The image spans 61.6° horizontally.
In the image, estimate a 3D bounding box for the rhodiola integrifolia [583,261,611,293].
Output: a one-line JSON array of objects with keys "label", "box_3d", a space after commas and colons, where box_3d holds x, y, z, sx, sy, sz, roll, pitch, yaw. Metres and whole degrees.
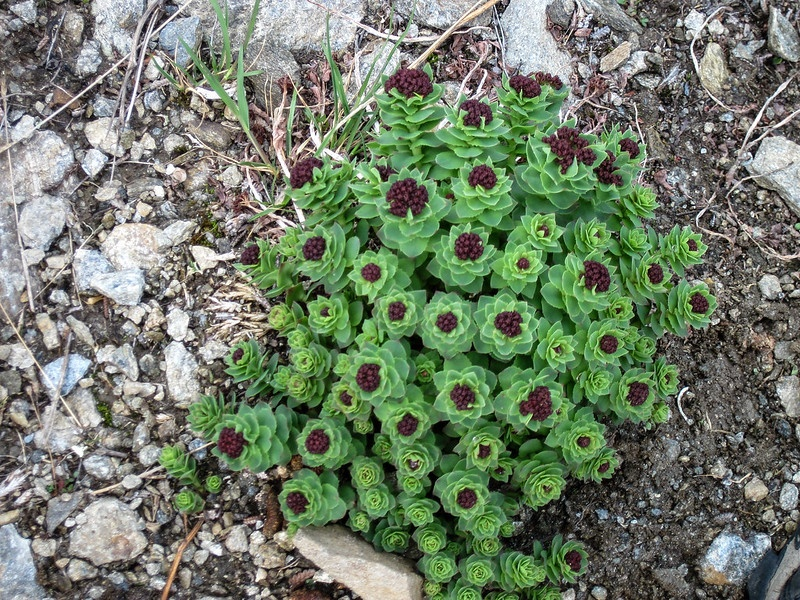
[{"label": "rhodiola integrifolia", "box_3d": [1.364, -0.159, 4.645, 0.220, 0.113, 0.210, 17, 76, 1]}]

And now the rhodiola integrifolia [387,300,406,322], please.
[{"label": "rhodiola integrifolia", "box_3d": [-0.018, 0.076, 4.587, 0.119, 0.061, 0.126, 2, 80, -3]}]

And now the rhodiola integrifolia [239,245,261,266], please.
[{"label": "rhodiola integrifolia", "box_3d": [-1.175, -0.337, 5.303, 0.080, 0.158, 0.162, 35, 52, -28]}]

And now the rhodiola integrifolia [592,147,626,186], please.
[{"label": "rhodiola integrifolia", "box_3d": [1.543, -0.973, 4.958, 0.211, 0.124, 0.296, -12, 77, -6]}]

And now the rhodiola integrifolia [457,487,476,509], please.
[{"label": "rhodiola integrifolia", "box_3d": [0.467, 1.386, 4.693, 0.123, 0.066, 0.139, -2, 72, 6]}]

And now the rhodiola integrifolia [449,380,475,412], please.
[{"label": "rhodiola integrifolia", "box_3d": [0.426, 0.648, 4.504, 0.177, 0.074, 0.183, 2, 76, -3]}]

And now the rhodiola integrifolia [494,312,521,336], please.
[{"label": "rhodiola integrifolia", "box_3d": [0.734, 0.161, 4.511, 0.189, 0.082, 0.166, 7, 76, -1]}]

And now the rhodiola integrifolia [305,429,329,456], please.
[{"label": "rhodiola integrifolia", "box_3d": [-0.582, 1.004, 4.754, 0.174, 0.080, 0.175, -2, 76, -3]}]

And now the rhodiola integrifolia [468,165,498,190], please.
[{"label": "rhodiola integrifolia", "box_3d": [0.585, -0.852, 4.664, 0.199, 0.095, 0.173, 25, 76, 3]}]

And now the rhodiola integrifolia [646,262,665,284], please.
[{"label": "rhodiola integrifolia", "box_3d": [1.885, -0.200, 4.924, 0.121, 0.056, 0.141, 2, 88, -5]}]

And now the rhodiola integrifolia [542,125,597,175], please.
[{"label": "rhodiola integrifolia", "box_3d": [1.214, -1.075, 4.722, 0.331, 0.131, 0.319, -23, 78, -8]}]

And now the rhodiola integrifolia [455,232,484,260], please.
[{"label": "rhodiola integrifolia", "box_3d": [0.468, -0.359, 4.616, 0.173, 0.097, 0.187, -9, 87, 0]}]

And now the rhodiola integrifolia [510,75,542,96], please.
[{"label": "rhodiola integrifolia", "box_3d": [0.910, -1.555, 4.845, 0.183, 0.081, 0.144, 9, 42, -10]}]

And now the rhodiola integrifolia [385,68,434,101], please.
[{"label": "rhodiola integrifolia", "box_3d": [0.054, -1.538, 4.736, 0.227, 0.090, 0.233, -6, 33, -11]}]

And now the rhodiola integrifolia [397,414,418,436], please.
[{"label": "rhodiola integrifolia", "box_3d": [0.054, 0.851, 4.566, 0.130, 0.072, 0.148, 3, 78, 5]}]

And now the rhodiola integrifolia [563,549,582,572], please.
[{"label": "rhodiola integrifolia", "box_3d": [1.308, 1.971, 5.062, 0.129, 0.081, 0.166, -2, 76, -3]}]

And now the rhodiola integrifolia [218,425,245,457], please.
[{"label": "rhodiola integrifolia", "box_3d": [-1.179, 1.004, 4.744, 0.190, 0.104, 0.204, -1, 105, -9]}]

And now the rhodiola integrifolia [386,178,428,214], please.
[{"label": "rhodiola integrifolia", "box_3d": [0.057, -0.713, 4.694, 0.298, 0.176, 0.247, 1, 76, -3]}]

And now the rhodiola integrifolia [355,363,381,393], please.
[{"label": "rhodiola integrifolia", "box_3d": [-0.211, 0.522, 4.523, 0.166, 0.069, 0.200, 5, 76, -2]}]

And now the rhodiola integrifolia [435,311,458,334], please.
[{"label": "rhodiola integrifolia", "box_3d": [0.320, 0.148, 4.517, 0.148, 0.047, 0.142, -38, 81, -11]}]

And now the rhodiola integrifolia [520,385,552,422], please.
[{"label": "rhodiola integrifolia", "box_3d": [0.936, 0.696, 4.575, 0.214, 0.090, 0.229, -14, 101, 12]}]

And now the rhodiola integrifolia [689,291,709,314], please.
[{"label": "rhodiola integrifolia", "box_3d": [2.243, 0.018, 5.021, 0.149, 0.061, 0.161, 10, 86, -1]}]

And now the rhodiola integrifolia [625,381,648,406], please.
[{"label": "rhodiola integrifolia", "box_3d": [1.748, 0.681, 4.918, 0.168, 0.111, 0.179, 1, 76, -3]}]

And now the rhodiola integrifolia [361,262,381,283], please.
[{"label": "rhodiola integrifolia", "box_3d": [-0.198, -0.188, 4.687, 0.139, 0.057, 0.126, -4, 76, -4]}]

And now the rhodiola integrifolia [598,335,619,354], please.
[{"label": "rhodiola integrifolia", "box_3d": [1.470, 0.306, 4.710, 0.117, 0.049, 0.127, 4, 91, -7]}]

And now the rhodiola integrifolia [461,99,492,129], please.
[{"label": "rhodiola integrifolia", "box_3d": [0.551, -1.326, 4.796, 0.248, 0.143, 0.205, 12, 75, 0]}]

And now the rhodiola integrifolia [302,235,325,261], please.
[{"label": "rhodiola integrifolia", "box_3d": [-0.613, -0.373, 4.807, 0.152, 0.068, 0.164, 9, 90, -8]}]

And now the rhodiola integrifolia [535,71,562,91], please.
[{"label": "rhodiola integrifolia", "box_3d": [1.094, -1.627, 4.954, 0.170, 0.138, 0.094, 4, 113, -12]}]
